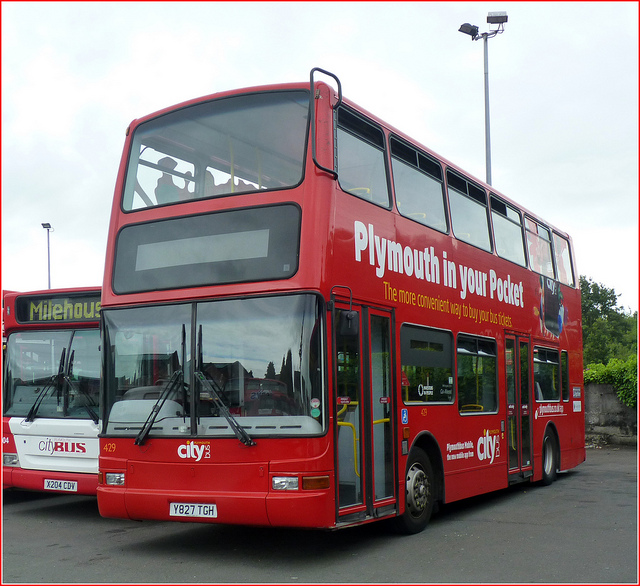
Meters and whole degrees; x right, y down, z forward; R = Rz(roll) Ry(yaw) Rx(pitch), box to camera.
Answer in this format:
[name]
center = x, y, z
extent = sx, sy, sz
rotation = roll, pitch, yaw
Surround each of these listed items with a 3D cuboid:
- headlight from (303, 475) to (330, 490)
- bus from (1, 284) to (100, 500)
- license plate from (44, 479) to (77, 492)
[headlight]
center = -0.040, 1.808, 6.393
extent = 0.263, 0.120, 0.045
rotation = 3, -7, -19
[bus]
center = -4.042, 1.394, 9.927
extent = 1.972, 2.965, 0.502
rotation = -3, -7, 19
[license plate]
center = -3.697, 2.707, 9.465
extent = 0.645, 0.146, 0.050
rotation = -5, -8, 28
